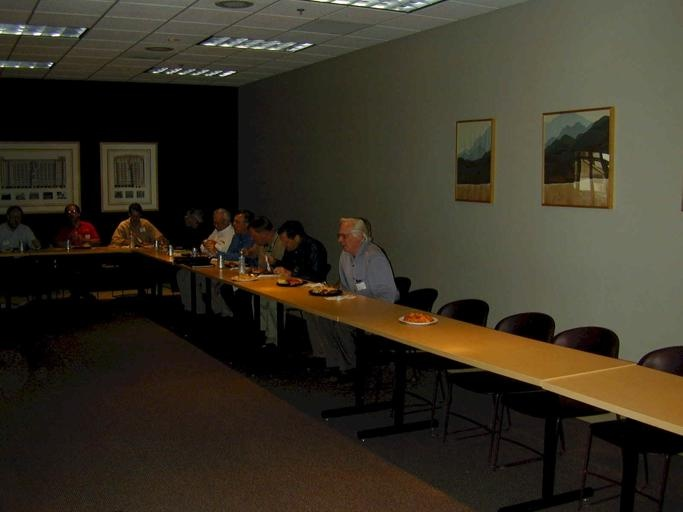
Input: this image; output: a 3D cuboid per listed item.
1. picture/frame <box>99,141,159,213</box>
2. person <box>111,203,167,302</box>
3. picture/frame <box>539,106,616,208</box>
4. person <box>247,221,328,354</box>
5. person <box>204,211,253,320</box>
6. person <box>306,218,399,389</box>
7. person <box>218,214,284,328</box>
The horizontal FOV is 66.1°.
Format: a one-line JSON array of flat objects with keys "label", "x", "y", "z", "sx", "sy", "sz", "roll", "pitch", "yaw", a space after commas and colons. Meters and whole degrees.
[{"label": "picture/frame", "x": -4.223, "y": -1.596, "z": 10.283, "sx": 1.251, "sy": 1.824, "sz": 0.112, "roll": -3, "pitch": 7, "yaw": -17}, {"label": "person", "x": -3.318, "y": -0.180, "z": 9.332, "sx": 1.084, "sy": 1.455, "sz": 0.846, "roll": -6, "pitch": 5, "yaw": -39}, {"label": "picture/frame", "x": 2.188, "y": -0.915, "z": 4.796, "sx": 0.068, "sy": 1.109, "sz": 0.823, "roll": -6, "pitch": 9, "yaw": -35}, {"label": "person", "x": -0.703, "y": 0.216, "z": 6.701, "sx": 0.855, "sy": 1.504, "sz": 0.669, "roll": -3, "pitch": 26, "yaw": -25}, {"label": "person", "x": -1.582, "y": 0.221, "z": 7.700, "sx": 0.843, "sy": 1.716, "sz": 0.685, "roll": -4, "pitch": 5, "yaw": -29}, {"label": "person", "x": 0.091, "y": 0.363, "z": 5.528, "sx": 0.812, "sy": 1.528, "sz": 0.832, "roll": -6, "pitch": 16, "yaw": -19}, {"label": "person", "x": -1.214, "y": 0.239, "z": 7.405, "sx": 0.733, "sy": 1.759, "sz": 0.963, "roll": 17, "pitch": 27, "yaw": 22}]
